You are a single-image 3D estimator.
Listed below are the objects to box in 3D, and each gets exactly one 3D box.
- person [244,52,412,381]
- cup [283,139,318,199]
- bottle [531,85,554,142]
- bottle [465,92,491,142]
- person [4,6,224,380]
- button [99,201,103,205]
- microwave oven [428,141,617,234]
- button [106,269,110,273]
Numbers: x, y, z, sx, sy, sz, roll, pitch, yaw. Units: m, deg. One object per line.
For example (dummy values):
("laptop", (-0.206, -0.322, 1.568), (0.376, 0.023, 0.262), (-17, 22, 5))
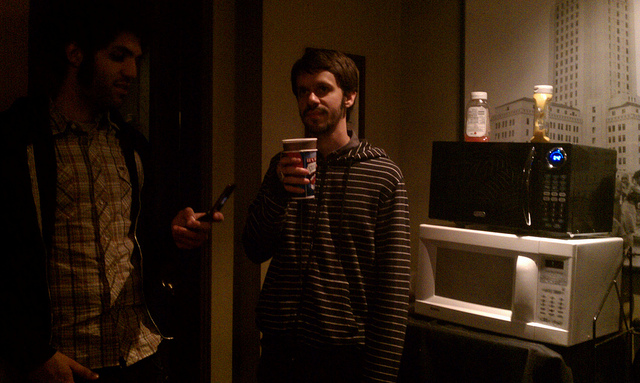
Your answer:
("person", (0.026, 0.114, 2.201), (0.697, 1.412, 0.382), (0, 4, -6))
("cup", (-0.084, -0.090, 2.120), (0.162, 0.233, 0.165), (-5, -1, 0))
("bottle", (1.054, -0.366, 2.489), (0.079, 0.258, 0.222), (2, 5, 22))
("bottle", (0.771, -0.363, 2.554), (0.109, 0.238, 0.135), (2, 5, 14))
("person", (-0.961, 0.023, 2.217), (0.666, 1.588, 0.335), (-2, 5, -33))
("button", (-0.929, 0.052, 2.213), (0.012, 0.017, 0.010), (-1, 16, 17))
("microwave oven", (0.984, -0.102, 2.433), (0.455, 0.358, 0.658), (6, -2, -42))
("button", (-0.894, 0.338, 2.198), (0.017, 0.017, 0.004), (3, -4, -19))
